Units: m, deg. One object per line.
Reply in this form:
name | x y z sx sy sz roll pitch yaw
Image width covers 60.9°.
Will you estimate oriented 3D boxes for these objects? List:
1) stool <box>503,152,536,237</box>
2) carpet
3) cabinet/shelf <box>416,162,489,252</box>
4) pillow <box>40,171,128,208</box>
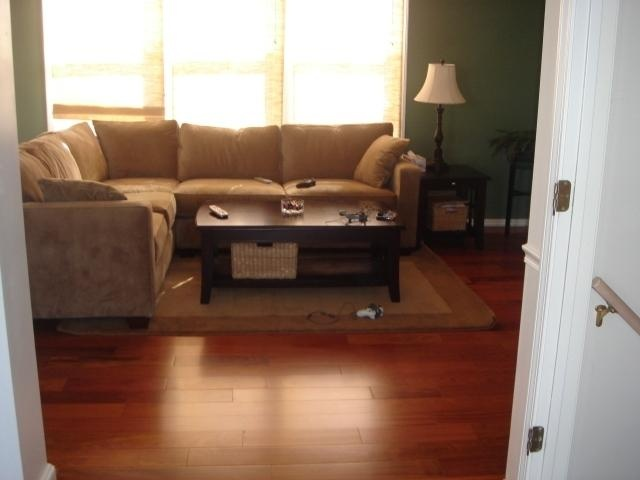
stool | 1.977 -0.492 5.416 0.232 0.815 0.586 4 16 19
carpet | 0.003 0.394 3.773 2.212 0.155 0.981 -3 15 -3
cabinet/shelf | 1.192 -0.260 5.122 0.627 0.639 0.644 1 7 3
pillow | -1.414 -0.298 3.231 0.466 0.146 0.072 -3 15 -4
